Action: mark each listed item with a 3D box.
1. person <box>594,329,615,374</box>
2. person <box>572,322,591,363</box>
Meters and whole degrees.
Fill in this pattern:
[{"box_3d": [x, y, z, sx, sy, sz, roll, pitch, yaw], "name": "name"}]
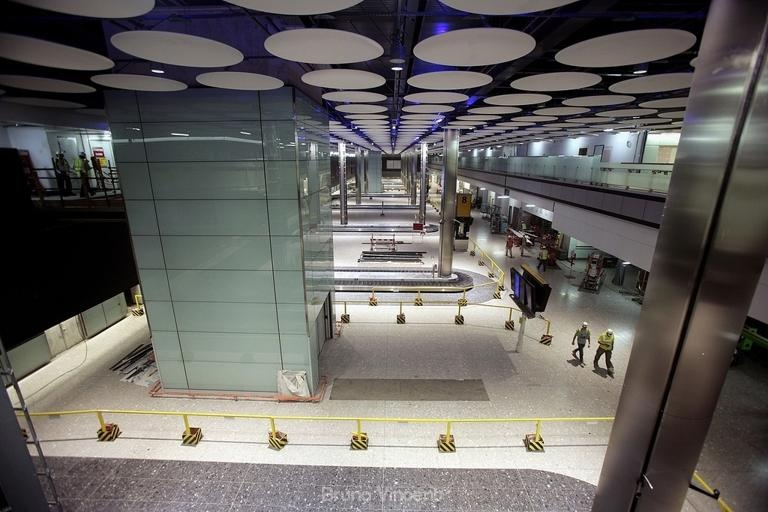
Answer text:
[{"box_3d": [8.920, 3.675, 17.770, 0.780, 1.798, 1.072, 7, 15, 25], "name": "person"}, {"box_3d": [8.246, 3.376, 18.550, 0.609, 1.783, 1.604, 7, 14, 23], "name": "person"}]
